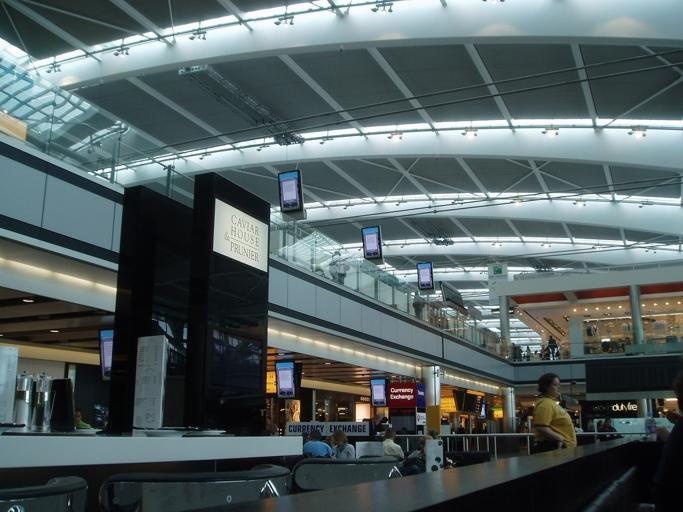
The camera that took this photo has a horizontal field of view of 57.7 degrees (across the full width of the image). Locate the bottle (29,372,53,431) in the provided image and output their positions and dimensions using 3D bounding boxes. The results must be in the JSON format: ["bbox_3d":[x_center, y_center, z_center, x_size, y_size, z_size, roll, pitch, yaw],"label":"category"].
[{"bbox_3d":[-1.915,0.981,3.972,0.126,0.373,0.410,6,-17,-23],"label":"bottle"}]

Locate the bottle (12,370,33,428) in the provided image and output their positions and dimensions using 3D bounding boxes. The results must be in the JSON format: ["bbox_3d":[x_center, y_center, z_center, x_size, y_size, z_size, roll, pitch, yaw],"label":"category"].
[{"bbox_3d":[-1.939,0.927,3.802,0.111,0.350,0.289,7,-18,-24],"label":"bottle"}]

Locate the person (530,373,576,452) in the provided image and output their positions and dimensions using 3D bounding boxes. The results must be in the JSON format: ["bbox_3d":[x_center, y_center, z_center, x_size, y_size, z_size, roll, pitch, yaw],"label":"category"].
[{"bbox_3d":[1.985,1.549,5.901,0.383,0.756,0.621,-6,-17,17],"label":"person"}]

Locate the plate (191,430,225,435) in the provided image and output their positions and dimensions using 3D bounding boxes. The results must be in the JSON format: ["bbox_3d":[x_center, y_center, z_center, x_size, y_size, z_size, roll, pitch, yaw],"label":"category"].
[{"bbox_3d":[-0.989,1.398,4.692,0.125,0.041,0.355,-4,-15,13],"label":"plate"}]

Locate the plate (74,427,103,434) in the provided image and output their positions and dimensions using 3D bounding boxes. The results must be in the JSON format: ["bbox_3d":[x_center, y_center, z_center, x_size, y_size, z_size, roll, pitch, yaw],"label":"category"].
[{"bbox_3d":[-1.844,1.339,4.540,0.173,0.034,0.607,5,-15,-21],"label":"plate"}]

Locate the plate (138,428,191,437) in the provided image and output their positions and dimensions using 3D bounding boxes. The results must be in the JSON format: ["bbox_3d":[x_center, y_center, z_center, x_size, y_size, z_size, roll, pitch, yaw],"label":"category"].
[{"bbox_3d":[-1.214,1.290,4.340,0.289,0.054,0.315,3,-15,-15],"label":"plate"}]
